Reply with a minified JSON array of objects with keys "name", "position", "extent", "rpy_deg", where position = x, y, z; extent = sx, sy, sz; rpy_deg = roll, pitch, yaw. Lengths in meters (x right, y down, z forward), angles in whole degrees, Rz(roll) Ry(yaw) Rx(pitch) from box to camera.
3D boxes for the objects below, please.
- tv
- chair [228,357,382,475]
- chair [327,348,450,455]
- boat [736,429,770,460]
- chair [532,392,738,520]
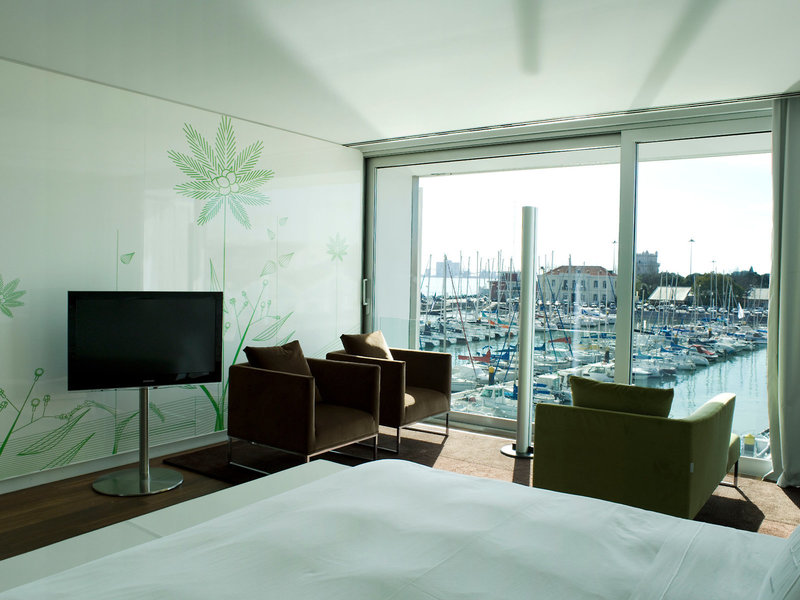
[{"name":"tv","position":[-1.915,0.288,4.447],"extent":[0.737,0.512,0.052],"rpy_deg":[2,-4,-34]},{"name":"chair","position":[-0.806,0.974,5.157],"extent":[0.969,0.855,0.917],"rpy_deg":[2,2,37]},{"name":"chair","position":[-0.151,0.871,5.918],"extent":[1.012,0.960,0.913],"rpy_deg":[0,1,41]},{"name":"boat","position":[3.016,1.219,5.159],"extent":[0.228,0.242,0.083],"rpy_deg":[2,10,10]},{"name":"chair","position":[1.472,1.027,3.923],"extent":[0.753,0.459,1.095],"rpy_deg":[1,0,34]}]
